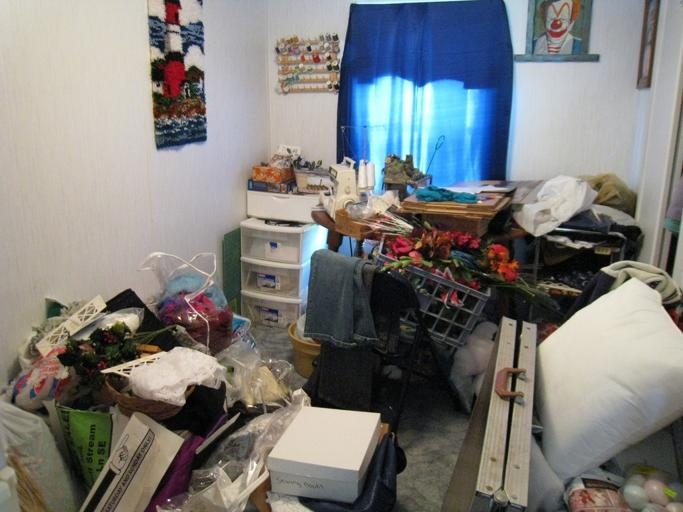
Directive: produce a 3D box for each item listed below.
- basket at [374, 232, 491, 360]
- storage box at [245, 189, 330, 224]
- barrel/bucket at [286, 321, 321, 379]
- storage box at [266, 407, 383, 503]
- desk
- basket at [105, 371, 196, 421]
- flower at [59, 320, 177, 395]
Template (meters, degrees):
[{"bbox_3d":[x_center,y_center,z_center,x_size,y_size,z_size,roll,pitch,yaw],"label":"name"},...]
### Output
[{"bbox_3d":[0.518,0.225,2.891,0.542,0.388,0.317,29,29,4],"label":"basket"},{"bbox_3d":[-0.586,-0.397,4.284,0.628,0.215,0.469,2,2,-28],"label":"storage box"},{"bbox_3d":[-0.234,0.637,3.447,0.283,0.267,0.319,2,4,0],"label":"barrel/bucket"},{"bbox_3d":[-0.063,0.887,2.308,0.392,0.203,0.428,6,21,18],"label":"storage box"},{"bbox_3d":[1.391,0.071,3.004,0.470,0.642,0.413,-11,25,-43],"label":"desk"},{"bbox_3d":[-0.885,0.656,2.307,0.263,0.113,0.290,7,-5,31],"label":"basket"},{"bbox_3d":[-1.076,0.442,2.436,0.409,0.251,0.229,-25,49,-38],"label":"flower"}]
